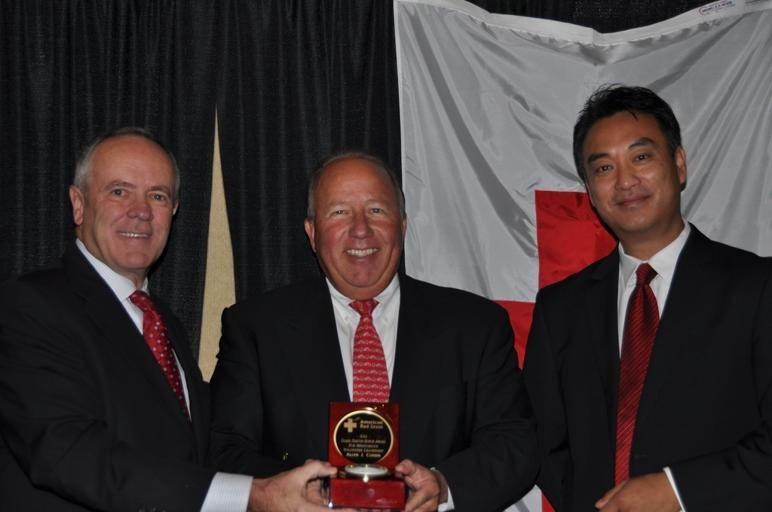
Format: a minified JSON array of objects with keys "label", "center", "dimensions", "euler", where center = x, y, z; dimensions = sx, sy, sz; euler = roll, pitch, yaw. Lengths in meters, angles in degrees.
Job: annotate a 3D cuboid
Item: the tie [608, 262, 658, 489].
[{"label":"tie","center":[1.167,0.523,3.043],"dimensions":[0.228,0.991,0.151],"euler":[6,-8,-34]}]
